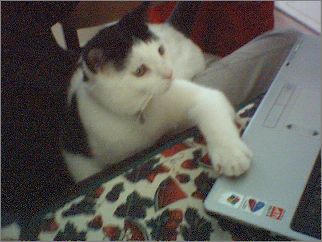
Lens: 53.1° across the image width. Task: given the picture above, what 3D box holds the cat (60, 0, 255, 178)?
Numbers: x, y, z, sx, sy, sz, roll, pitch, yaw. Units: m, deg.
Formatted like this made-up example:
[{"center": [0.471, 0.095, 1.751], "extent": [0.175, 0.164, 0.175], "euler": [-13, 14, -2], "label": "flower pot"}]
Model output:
[{"center": [-0.053, -0.030, 0.995], "extent": [0.423, 0.314, 0.537], "euler": [-35, 70, -9], "label": "cat"}]
